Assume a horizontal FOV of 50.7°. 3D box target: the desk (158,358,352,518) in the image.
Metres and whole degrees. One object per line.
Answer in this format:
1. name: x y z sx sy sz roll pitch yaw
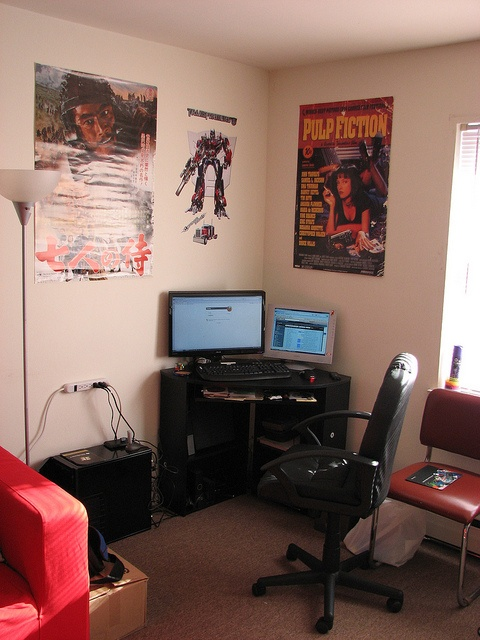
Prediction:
1. desk: 0.132 0.826 3.010 1.038 1.122 0.759 -5 8 -38

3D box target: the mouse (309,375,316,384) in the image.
1. mouse: 0.396 0.332 2.767 0.024 0.037 0.012 3 -1 -24

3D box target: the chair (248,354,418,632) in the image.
1. chair: 0.334 0.594 2.535 0.834 1.606 0.942 4 6 14
